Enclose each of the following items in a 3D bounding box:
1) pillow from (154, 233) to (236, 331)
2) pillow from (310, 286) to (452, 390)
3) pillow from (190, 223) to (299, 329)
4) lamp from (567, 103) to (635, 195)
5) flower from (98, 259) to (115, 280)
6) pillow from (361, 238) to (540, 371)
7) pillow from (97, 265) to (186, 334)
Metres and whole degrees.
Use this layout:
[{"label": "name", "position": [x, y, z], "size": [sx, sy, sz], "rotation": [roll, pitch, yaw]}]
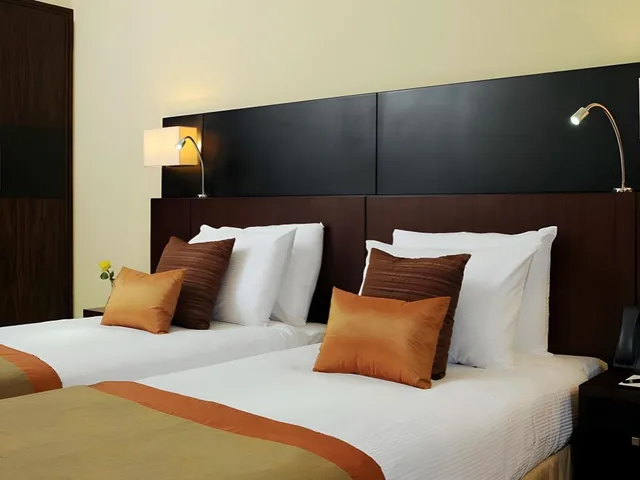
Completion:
[{"label": "pillow", "position": [-0.818, 0.231, 2.878], "size": [0.475, 0.482, 0.268], "rotation": [8, 7, 22]}, {"label": "pillow", "position": [0.235, 0.409, 1.987], "size": [0.524, 0.356, 0.300], "rotation": [2, -4, 25]}, {"label": "pillow", "position": [-0.423, 0.225, 2.863], "size": [0.533, 0.594, 0.185], "rotation": [4, -13, 16]}, {"label": "lamp", "position": [1.354, -0.450, 2.304], "size": [0.273, 0.453, 0.127], "rotation": [2, 3, 31]}, {"label": "flower", "position": [-1.802, 0.246, 4.014], "size": [0.118, 0.177, 0.151], "rotation": [-8, -15, -1]}, {"label": "pillow", "position": [0.586, 0.302, 2.065], "size": [0.486, 0.415, 0.179], "rotation": [0, -2, 34]}, {"label": "pillow", "position": [-1.021, 0.344, 2.717], "size": [0.438, 0.347, 0.232], "rotation": [4, 4, 17]}]
